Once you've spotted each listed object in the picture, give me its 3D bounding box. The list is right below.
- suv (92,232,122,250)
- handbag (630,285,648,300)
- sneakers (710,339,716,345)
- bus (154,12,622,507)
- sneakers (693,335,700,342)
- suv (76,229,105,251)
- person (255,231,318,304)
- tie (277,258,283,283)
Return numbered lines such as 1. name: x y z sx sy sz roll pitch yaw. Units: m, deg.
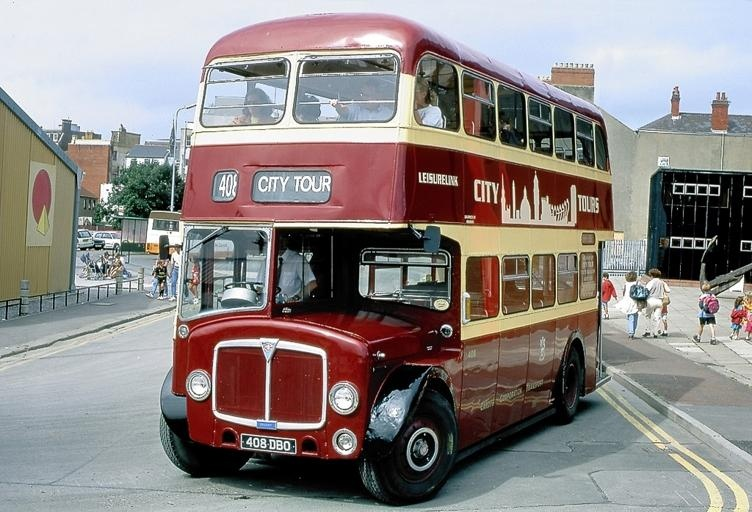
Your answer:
1. suv: -27.814 -1.441 68.189 2.419 1.145 1.636 -2 7 10
2. handbag: 8.851 1.268 22.426 0.593 0.580 0.315 2 1 13
3. sneakers: 11.370 2.963 22.483 0.175 0.180 0.173 0 -3 21
4. bus: 0.146 0.307 8.336 2.674 4.134 6.049 1 0 29
5. sneakers: 10.951 2.882 22.717 0.231 0.239 0.536 2 1 24
6. suv: -28.163 -1.453 65.202 3.723 1.399 1.915 6 8 34
7. person: -0.992 0.173 8.024 0.854 1.224 0.631 1 -3 -9
8. tie: -1.127 0.177 7.727 0.041 0.292 0.106 2 0 32
